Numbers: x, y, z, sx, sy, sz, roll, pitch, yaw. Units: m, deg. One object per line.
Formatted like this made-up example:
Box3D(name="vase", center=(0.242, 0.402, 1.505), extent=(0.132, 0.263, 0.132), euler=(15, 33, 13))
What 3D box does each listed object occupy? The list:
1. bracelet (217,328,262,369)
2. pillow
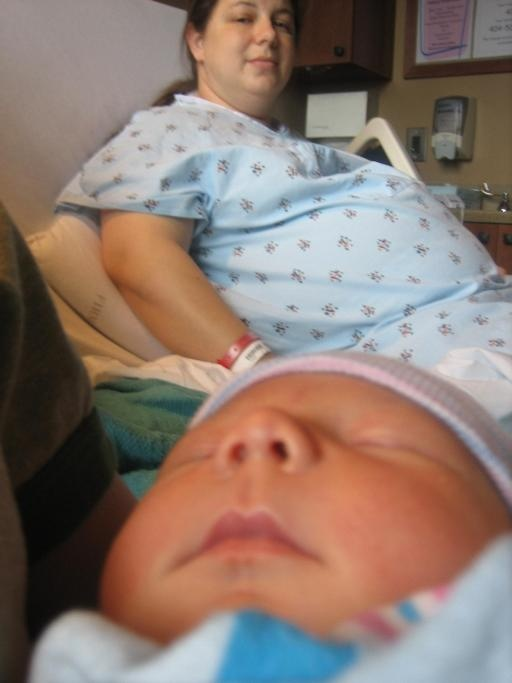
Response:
Box3D(name="bracelet", center=(-0.020, 0.008, 0.797), extent=(0.046, 0.043, 0.048), euler=(23, 14, 29))
Box3D(name="pillow", center=(-0.231, -0.090, 0.918), extent=(0.172, 0.219, 0.072), euler=(-16, 10, 13))
